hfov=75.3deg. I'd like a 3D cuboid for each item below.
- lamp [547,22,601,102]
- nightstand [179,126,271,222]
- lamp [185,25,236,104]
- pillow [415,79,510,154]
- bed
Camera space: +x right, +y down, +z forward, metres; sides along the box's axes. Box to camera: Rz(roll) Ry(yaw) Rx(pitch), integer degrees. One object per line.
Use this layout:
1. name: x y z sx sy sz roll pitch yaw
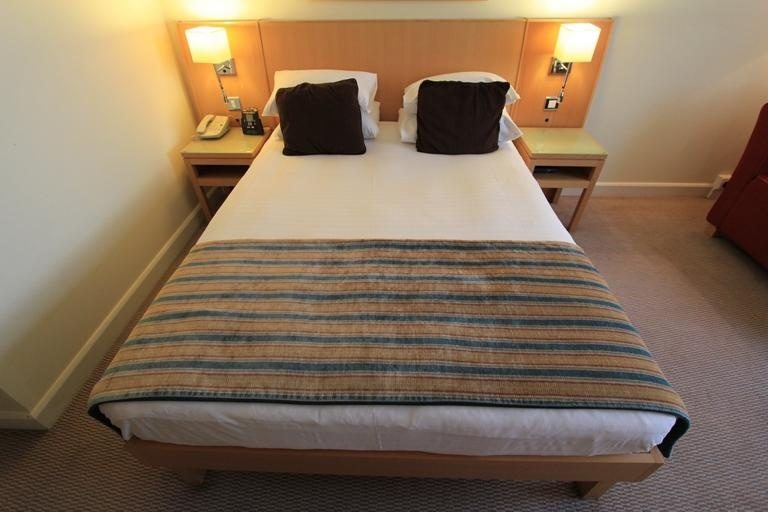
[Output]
1. lamp: 1.449 -1.454 3.841 0.312 0.600 0.311 10 42 15
2. nightstand: -1.204 -0.758 4.365 0.707 0.917 0.857 0 52 -3
3. lamp: -1.304 -1.458 3.872 0.281 0.608 0.270 -11 41 -9
4. pillow: 0.559 -1.018 3.638 0.610 0.399 0.210 -1 25 0
5. bed: 0.039 0.409 3.068 2.803 1.059 1.648 0 38 3
